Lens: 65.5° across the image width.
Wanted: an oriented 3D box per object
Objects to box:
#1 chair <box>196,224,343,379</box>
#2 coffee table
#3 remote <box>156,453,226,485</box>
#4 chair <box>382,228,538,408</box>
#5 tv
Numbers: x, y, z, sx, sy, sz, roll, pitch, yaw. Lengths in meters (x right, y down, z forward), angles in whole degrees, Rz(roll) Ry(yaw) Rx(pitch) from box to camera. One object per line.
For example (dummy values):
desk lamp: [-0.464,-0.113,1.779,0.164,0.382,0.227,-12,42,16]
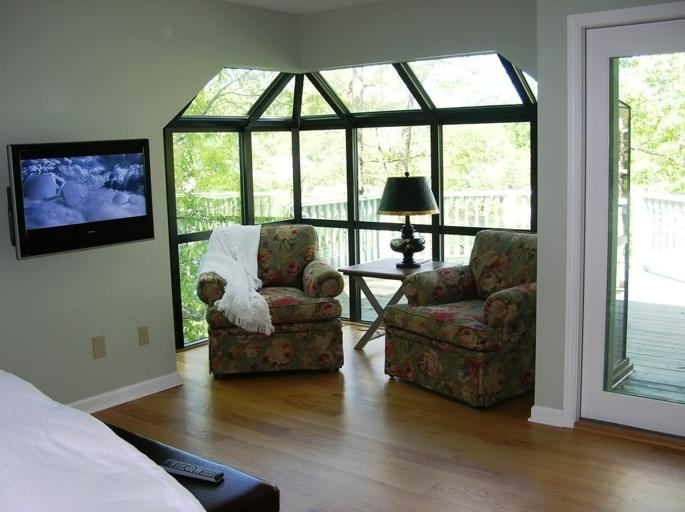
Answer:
chair: [-0.642,0.340,4.788,1.173,1.082,1.357,-2,7,-14]
coffee table: [0.313,0.441,4.976,0.798,0.674,0.780,3,3,-11]
remote: [-0.599,0.843,2.115,0.223,0.030,0.116,6,2,23]
chair: [0.980,0.384,4.075,1.264,1.020,1.329,2,9,19]
tv: [-1.745,-0.382,3.473,0.106,0.596,0.811,7,12,44]
